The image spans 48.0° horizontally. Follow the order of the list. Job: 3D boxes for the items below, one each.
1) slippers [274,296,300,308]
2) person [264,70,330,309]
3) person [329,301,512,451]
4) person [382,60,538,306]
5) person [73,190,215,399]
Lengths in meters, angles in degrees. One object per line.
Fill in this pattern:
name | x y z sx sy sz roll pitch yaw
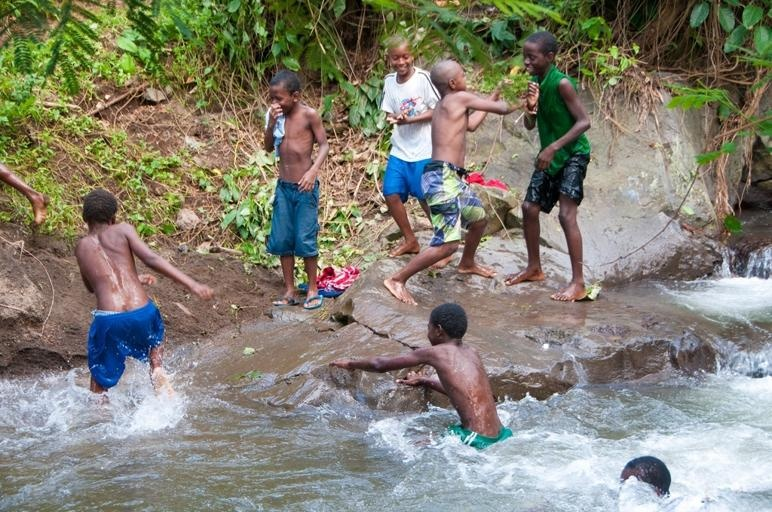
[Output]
slippers | -1.045 0.482 9.132 0.116 0.065 0.257 0 -1 38
person | -0.936 -0.667 8.931 0.712 2.435 0.428 -2 14 9
person | 0.471 0.946 7.143 1.075 1.058 0.469 5 15 31
person | 0.625 -0.728 8.356 1.318 2.263 0.825 -14 17 -39
person | -2.245 0.301 7.570 0.831 1.720 0.565 -6 13 -11
